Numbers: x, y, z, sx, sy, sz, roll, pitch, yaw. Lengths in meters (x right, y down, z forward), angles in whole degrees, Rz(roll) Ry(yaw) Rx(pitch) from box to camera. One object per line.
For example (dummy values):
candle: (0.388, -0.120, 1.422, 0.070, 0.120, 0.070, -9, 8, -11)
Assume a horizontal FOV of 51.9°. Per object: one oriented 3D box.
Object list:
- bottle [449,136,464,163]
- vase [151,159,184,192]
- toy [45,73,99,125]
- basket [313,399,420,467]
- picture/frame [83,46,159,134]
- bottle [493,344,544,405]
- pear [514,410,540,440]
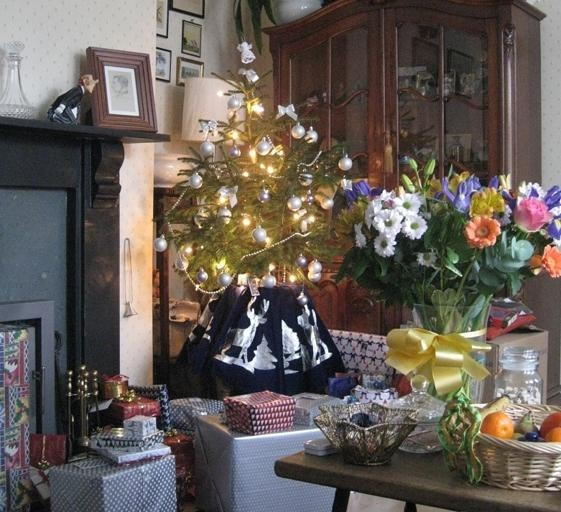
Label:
bottle: (0.936, -0.576, 3.060, 0.078, 0.138, 0.037, -3, 13, 19)
vase: (-0.650, -0.480, 3.330, 0.180, 0.180, 0.194, -9, 13, -9)
toy: (-0.897, -0.688, 2.519, 0.184, 0.220, 0.379, -7, 13, 0)
basket: (0.166, 0.322, 1.083, 0.115, 0.051, 0.124, 1, 0, -7)
picture/frame: (-0.751, -0.764, 2.661, 0.439, 0.563, 0.040, 6, -18, -43)
bottle: (0.494, 0.254, 1.191, 0.087, 0.130, 0.043, -3, 13, 18)
pear: (0.449, 0.301, 1.036, 0.039, 0.061, 0.041, 4, -2, 8)
